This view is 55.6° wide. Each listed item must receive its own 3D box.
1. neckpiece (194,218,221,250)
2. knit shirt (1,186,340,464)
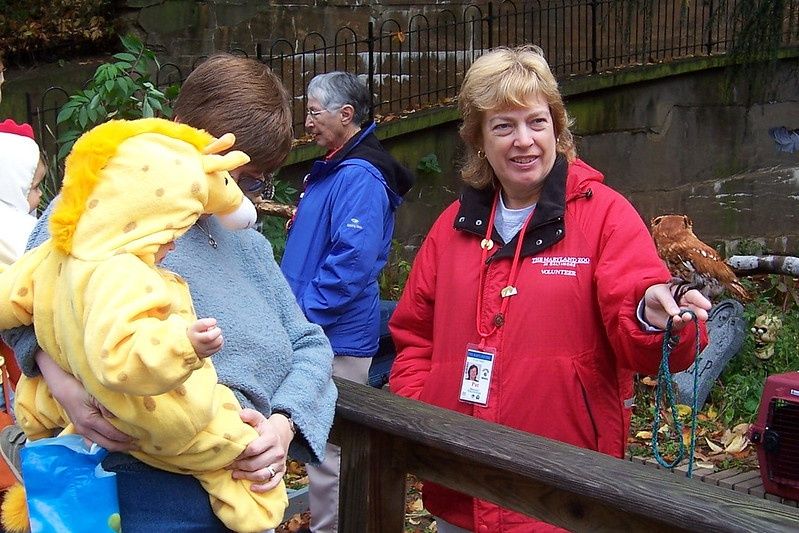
[{"bbox_3d":[-0.639,-0.109,2.486,0.070,0.097,0.024,-43,15,-36],"label":"neckpiece"},{"bbox_3d":[-0.552,0.225,2.389,0.982,0.879,0.377,-18,-15,-48],"label":"knit shirt"}]
